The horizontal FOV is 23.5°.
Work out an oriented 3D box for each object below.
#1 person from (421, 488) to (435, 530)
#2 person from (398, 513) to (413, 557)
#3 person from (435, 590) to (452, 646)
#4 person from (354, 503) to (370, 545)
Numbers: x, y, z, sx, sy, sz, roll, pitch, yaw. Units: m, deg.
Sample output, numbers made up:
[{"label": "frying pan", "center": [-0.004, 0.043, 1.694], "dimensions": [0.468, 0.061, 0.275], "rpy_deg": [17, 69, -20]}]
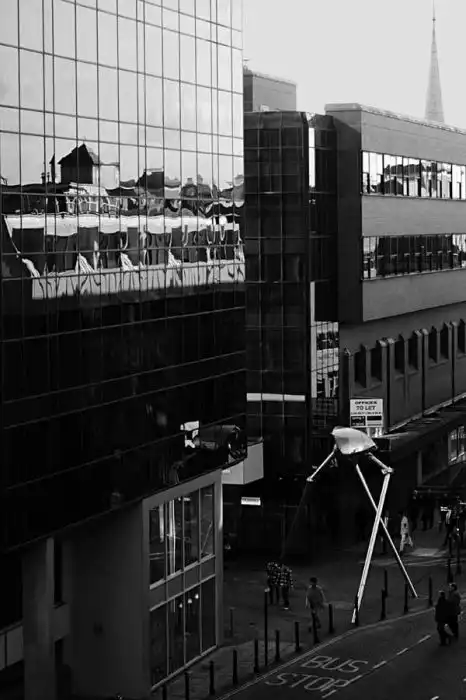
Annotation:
[{"label": "person", "center": [8.844, 7.225, 51.283], "dimensions": [0.572, 1.737, 2.385], "rpy_deg": [-1, 5, 10]}, {"label": "person", "center": [7.246, 7.432, 47.317], "dimensions": [0.526, 1.809, 3.922], "rpy_deg": [-1, 6, 10]}, {"label": "person", "center": [5.828, 7.346, 31.277], "dimensions": [0.398, 1.623, 1.878], "rpy_deg": [-1, 5, 11]}, {"label": "person", "center": [5.522, 7.465, 48.298], "dimensions": [0.673, 1.492, 0.320], "rpy_deg": [-2, 3, 0]}]
